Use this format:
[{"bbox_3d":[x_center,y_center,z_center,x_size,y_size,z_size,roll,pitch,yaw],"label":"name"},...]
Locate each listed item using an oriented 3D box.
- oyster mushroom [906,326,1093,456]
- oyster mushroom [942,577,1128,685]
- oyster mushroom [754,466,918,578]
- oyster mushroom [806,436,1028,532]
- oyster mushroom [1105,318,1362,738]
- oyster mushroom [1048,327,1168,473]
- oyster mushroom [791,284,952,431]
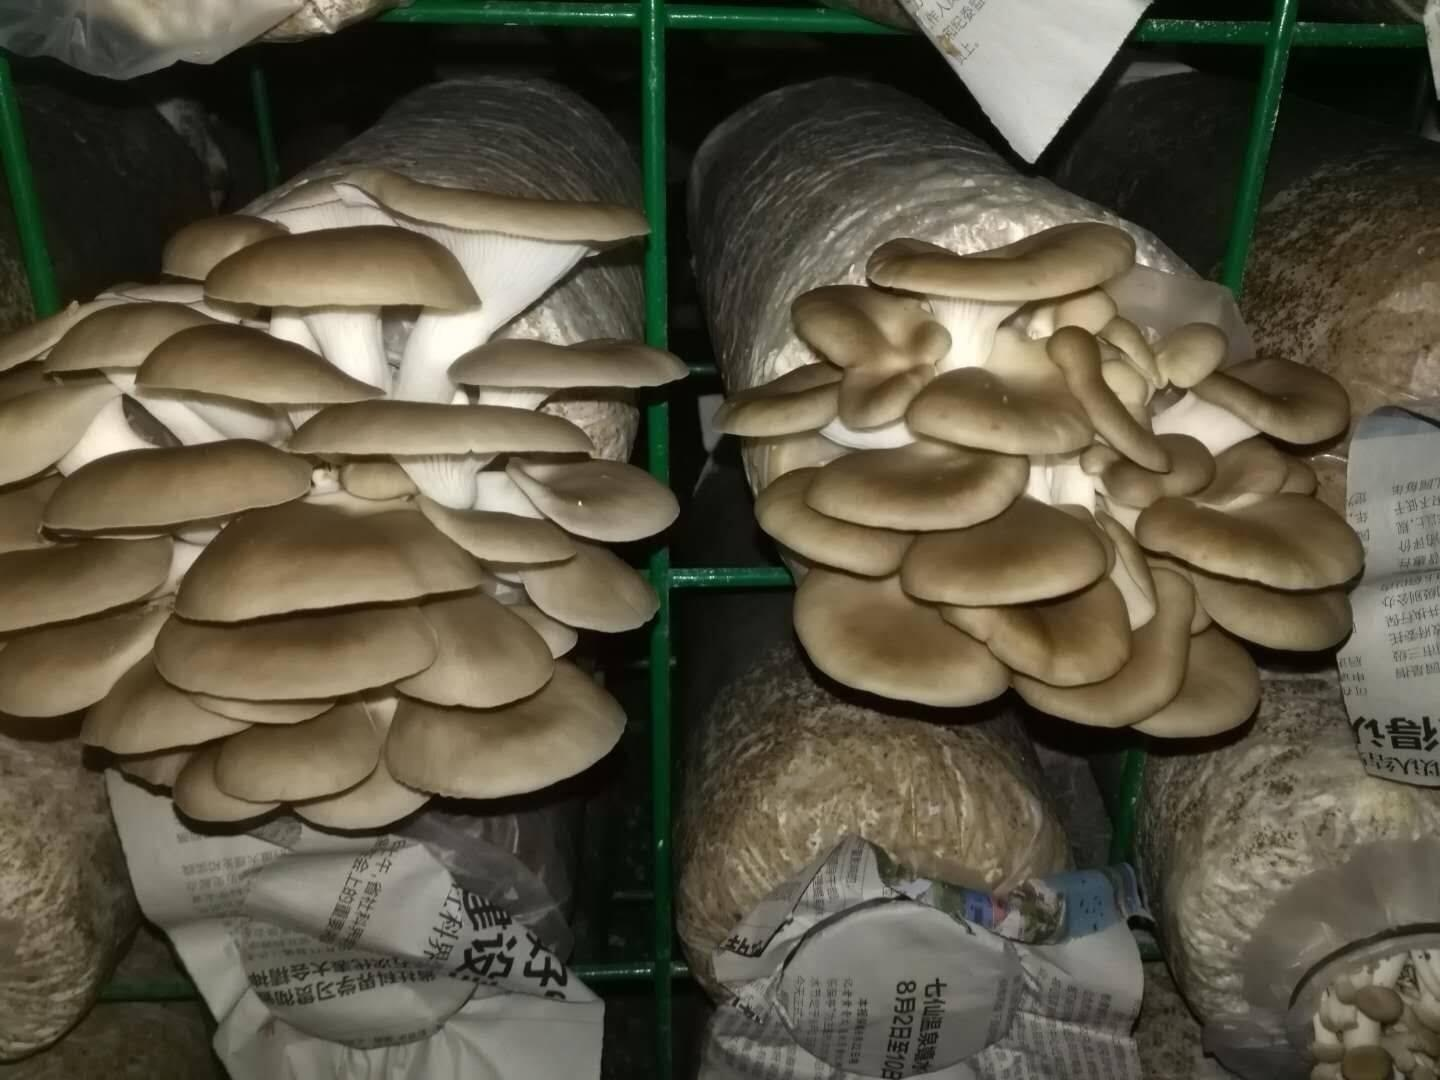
[{"bbox_3d":[0.306,-0.147,1.529,0.159,0.058,0.145,14,41,21],"label":"oyster mushroom"},{"bbox_3d":[0.371,0.108,1.623,0.213,0.082,0.253,20,11,38],"label":"oyster mushroom"},{"bbox_3d":[0.122,-0.016,1.599,0.149,0.022,0.128,21,61,28],"label":"oyster mushroom"},{"bbox_3d":[0.210,-0.056,1.542,0.154,0.022,0.128,-7,29,0],"label":"oyster mushroom"},{"bbox_3d":[0.563,0.010,1.690,0.362,0.440,0.168,9,-12,-12],"label":"oyster mushroom"},{"bbox_3d":[0.402,-0.158,1.594,0.075,0.055,0.196,-19,68,-37],"label":"oyster mushroom"},{"bbox_3d":[0.178,-0.210,1.590,0.170,0.161,0.055,-15,-2,-12],"label":"oyster mushroom"}]
